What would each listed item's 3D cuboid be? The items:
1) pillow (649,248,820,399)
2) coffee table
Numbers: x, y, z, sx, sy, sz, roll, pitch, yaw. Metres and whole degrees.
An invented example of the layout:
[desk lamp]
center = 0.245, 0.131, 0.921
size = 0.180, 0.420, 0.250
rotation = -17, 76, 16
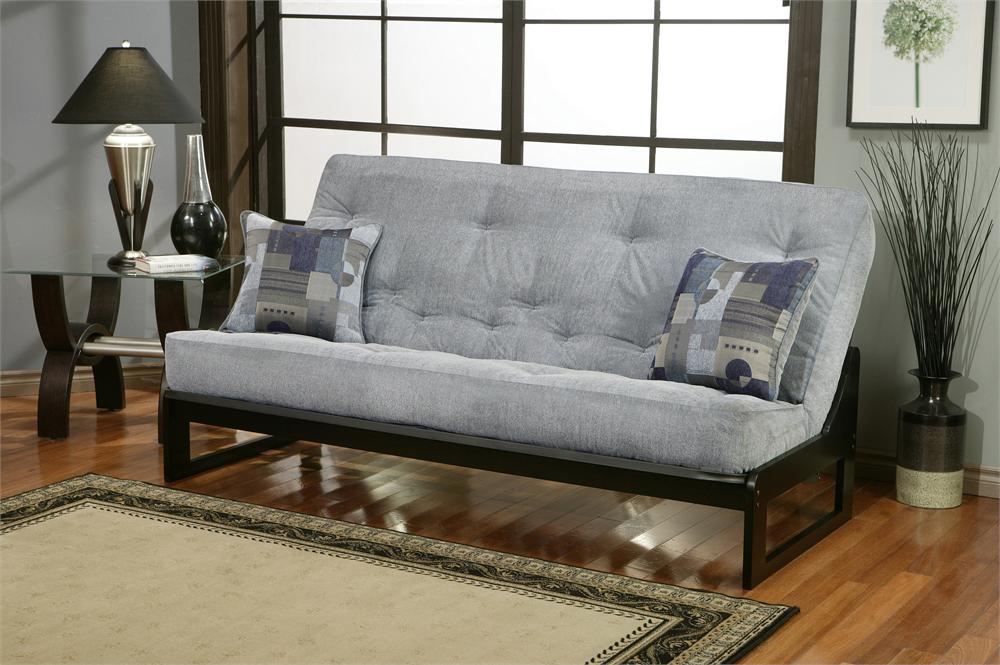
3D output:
[pillow]
center = 0.820, -0.035, 2.938
size = 0.547, 0.481, 0.166
rotation = 13, -12, 44
[coffee table]
center = -1.651, 0.000, 4.143
size = 1.160, 0.720, 0.953
rotation = 2, 3, 17
